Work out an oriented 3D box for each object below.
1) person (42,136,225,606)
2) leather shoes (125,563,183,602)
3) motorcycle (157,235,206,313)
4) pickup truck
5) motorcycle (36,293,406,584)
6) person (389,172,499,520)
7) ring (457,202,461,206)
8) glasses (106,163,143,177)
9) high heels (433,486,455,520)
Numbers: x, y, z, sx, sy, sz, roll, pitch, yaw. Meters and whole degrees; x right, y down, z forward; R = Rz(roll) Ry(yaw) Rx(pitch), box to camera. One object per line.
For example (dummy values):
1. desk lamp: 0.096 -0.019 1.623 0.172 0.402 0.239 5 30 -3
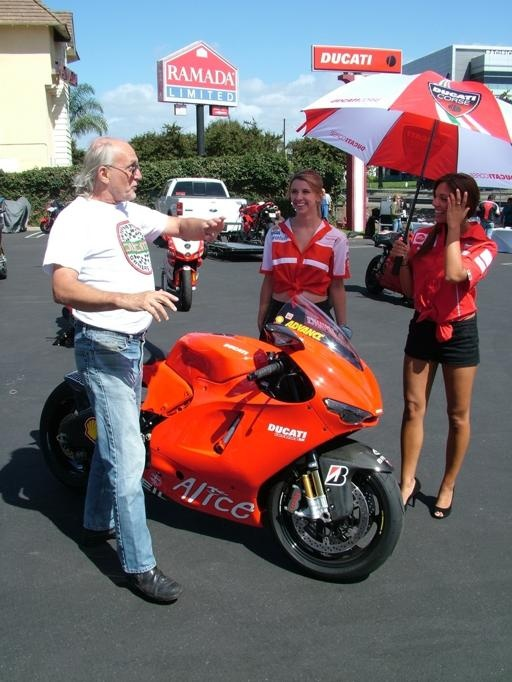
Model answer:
1. person: -0.570 0.107 2.373 0.665 1.928 1.033 0 8 -6
2. leather shoes: -0.422 1.002 2.369 0.264 0.108 0.108 4 6 38
3. motorcycle: -1.237 -1.198 9.292 0.866 1.100 2.084 6 8 -11
4. pickup truck: -2.244 -4.893 19.400 3.560 1.401 1.797 7 26 38
5. motorcycle: -0.264 0.385 2.785 2.106 1.117 0.698 9 -1 28
6. person: 0.963 0.064 3.020 0.525 1.851 0.447 5 9 28
7. ring: 0.987 -0.665 2.717 0.019 0.026 0.008 -9 48 -5
8. glasses: -0.587 -0.739 2.415 0.116 0.029 0.082 8 19 3
9. high heels: 1.072 0.919 3.173 0.124 0.090 0.352 -1 11 23
